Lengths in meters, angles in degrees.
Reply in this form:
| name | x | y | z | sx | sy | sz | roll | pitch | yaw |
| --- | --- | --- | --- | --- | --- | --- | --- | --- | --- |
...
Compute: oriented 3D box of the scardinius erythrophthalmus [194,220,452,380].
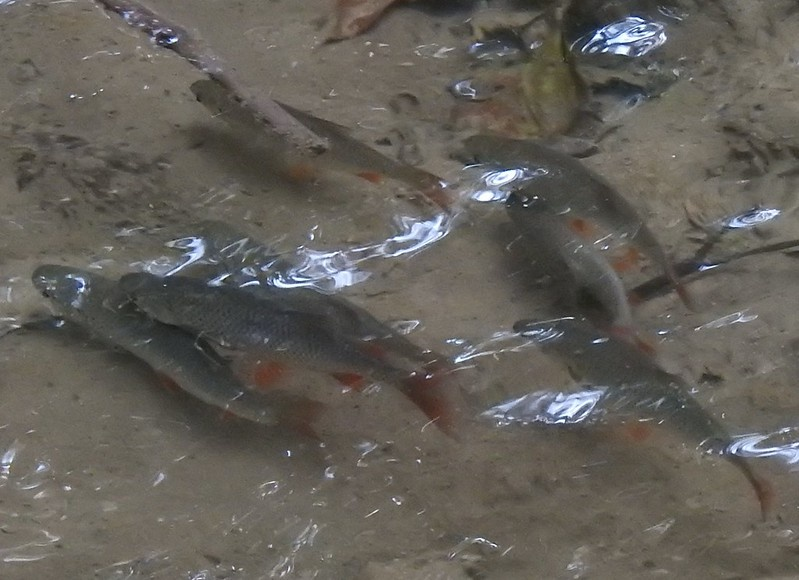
| name | x | y | z | sx | sy | sz | roll | pitch | yaw |
| --- | --- | --- | --- | --- | --- | --- | --- | --- | --- |
| scardinius erythrophthalmus | -0.333 | 0.071 | 4.497 | 1.291 | 0.376 | 0.180 | 18 | 99 | -1 |
